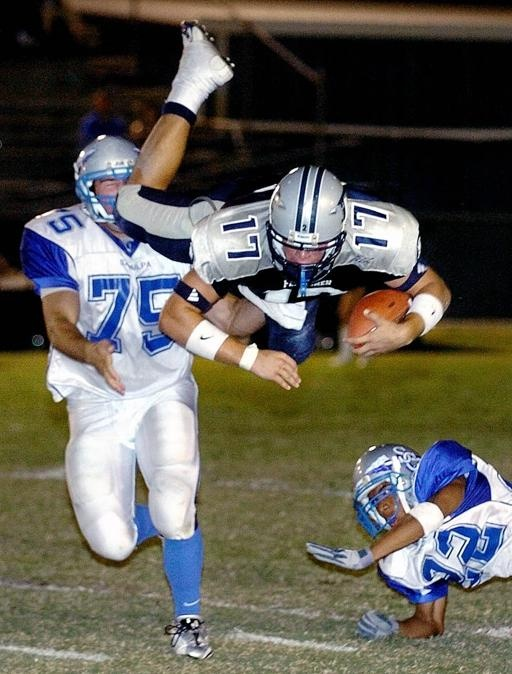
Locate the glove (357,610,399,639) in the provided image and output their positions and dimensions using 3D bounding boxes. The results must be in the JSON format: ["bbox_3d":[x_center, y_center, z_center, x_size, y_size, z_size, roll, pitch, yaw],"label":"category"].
[{"bbox_3d":[0.393,0.912,2.653,0.120,0.036,0.074,4,15,11],"label":"glove"}]

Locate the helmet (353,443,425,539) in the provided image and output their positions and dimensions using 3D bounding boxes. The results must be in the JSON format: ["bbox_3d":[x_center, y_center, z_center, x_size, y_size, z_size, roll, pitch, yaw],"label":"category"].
[{"bbox_3d":[0.457,0.476,2.868,0.304,0.229,0.211,-13,-7,-32],"label":"helmet"}]

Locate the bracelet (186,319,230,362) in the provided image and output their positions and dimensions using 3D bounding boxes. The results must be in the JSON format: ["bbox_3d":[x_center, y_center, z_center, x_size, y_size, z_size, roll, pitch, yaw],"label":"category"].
[{"bbox_3d":[-0.147,0.019,2.649,0.109,0.153,0.112,17,39,17],"label":"bracelet"}]
